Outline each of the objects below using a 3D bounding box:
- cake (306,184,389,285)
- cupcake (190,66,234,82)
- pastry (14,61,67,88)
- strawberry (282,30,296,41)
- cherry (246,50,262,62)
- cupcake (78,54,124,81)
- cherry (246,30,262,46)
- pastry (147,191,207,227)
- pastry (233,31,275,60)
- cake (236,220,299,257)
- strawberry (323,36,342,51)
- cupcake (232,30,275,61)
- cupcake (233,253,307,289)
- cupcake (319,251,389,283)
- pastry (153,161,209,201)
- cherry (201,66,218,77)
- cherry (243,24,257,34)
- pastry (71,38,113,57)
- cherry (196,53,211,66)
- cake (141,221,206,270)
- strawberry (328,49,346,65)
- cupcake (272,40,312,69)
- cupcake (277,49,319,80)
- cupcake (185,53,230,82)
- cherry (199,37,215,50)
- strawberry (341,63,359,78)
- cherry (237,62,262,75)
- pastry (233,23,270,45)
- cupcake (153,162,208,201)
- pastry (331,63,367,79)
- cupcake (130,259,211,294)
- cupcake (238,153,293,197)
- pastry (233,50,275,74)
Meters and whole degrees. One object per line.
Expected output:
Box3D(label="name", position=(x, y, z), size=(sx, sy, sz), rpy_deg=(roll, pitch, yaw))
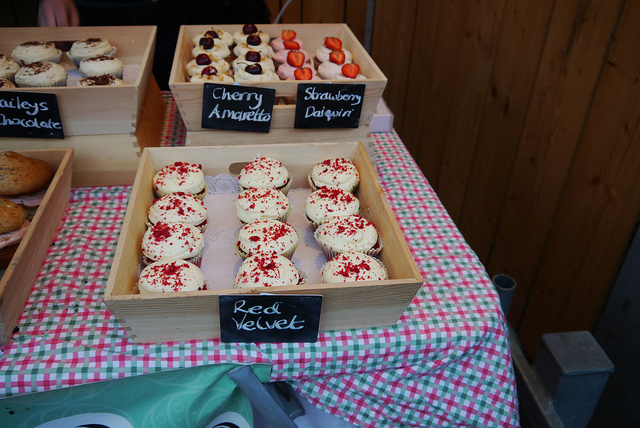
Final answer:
Box3D(label="cake", position=(0.118, 0.101, 2.109), size=(0.327, 0.159, 0.487), rpy_deg=(-4, 43, -6))
Box3D(label="cupcake", position=(-0.682, -0.856, 2.644), size=(0.189, 0.070, 0.184), rpy_deg=(-3, 36, -10))
Box3D(label="pastry", position=(-1.728, -0.848, 2.656), size=(0.250, 0.109, 0.264), rpy_deg=(27, 41, 29))
Box3D(label="strawberry", position=(-0.227, -1.290, 3.122), size=(0.096, 0.059, 0.086), rpy_deg=(1, 36, -4))
Box3D(label="cherry", position=(-0.437, -1.031, 2.844), size=(0.081, 0.044, 0.074), rpy_deg=(4, 57, -11))
Box3D(label="cupcake", position=(-1.408, -0.956, 2.779), size=(0.229, 0.123, 0.200), rpy_deg=(21, 39, 22))
Box3D(label="cherry", position=(-0.472, -1.219, 3.019), size=(0.084, 0.075, 0.077), rpy_deg=(-1, 29, -5))
Box3D(label="pastry", position=(-0.734, -0.032, 2.225), size=(0.220, 0.106, 0.196), rpy_deg=(6, 59, -7))
Box3D(label="pastry", position=(-0.470, -1.174, 3.032), size=(0.232, 0.134, 0.226), rpy_deg=(20, 26, 20))
Box3D(label="cake", position=(-0.257, 0.132, 2.206), size=(0.295, 0.147, 0.300), rpy_deg=(8, 38, -5))
Box3D(label="strawberry", position=(0.091, -1.191, 2.968), size=(0.106, 0.059, 0.122), rpy_deg=(-19, 41, -11))
Box3D(label="cupcake", position=(-0.478, -1.150, 3.043), size=(0.250, 0.141, 0.235), rpy_deg=(3, 18, -10))
Box3D(label="cupcake", position=(-0.243, 0.272, 2.000), size=(0.291, 0.094, 0.303), rpy_deg=(6, 28, 8))
Box3D(label="cupcake", position=(0.150, 0.242, 1.948), size=(0.187, 0.085, 0.174), rpy_deg=(6, 39, 11))
Box3D(label="pastry", position=(-0.753, -0.190, 2.305), size=(0.222, 0.146, 0.218), rpy_deg=(-13, 51, -23))
Box3D(label="cherry", position=(-0.677, -0.869, 2.633), size=(0.089, 0.047, 0.085), rpy_deg=(-16, 36, -27))
Box3D(label="cherry", position=(-0.515, -1.348, 3.132), size=(0.081, 0.074, 0.075), rpy_deg=(-10, 36, -13))
Box3D(label="pastry", position=(-1.542, -1.111, 2.884), size=(0.167, 0.059, 0.175), rpy_deg=(17, 38, 32))
Box3D(label="cherry", position=(-0.764, -0.999, 2.799), size=(0.093, 0.056, 0.078), rpy_deg=(-5, 37, -13))
Box3D(label="cake", position=(-0.707, 0.133, 2.065), size=(0.257, 0.171, 0.243), rpy_deg=(-9, 57, -17))
Box3D(label="strawberry", position=(0.116, -1.029, 2.893), size=(0.112, 0.065, 0.099), rpy_deg=(-1, 77, -7))
Box3D(label="cupcake", position=(-0.196, -1.202, 3.113), size=(0.265, 0.085, 0.267), rpy_deg=(-6, 48, -16))
Box3D(label="cupcake", position=(-0.157, -1.013, 2.924), size=(0.294, 0.162, 0.286), rpy_deg=(-11, 22, -14))
Box3D(label="cupcake", position=(-0.743, -0.965, 2.793), size=(0.252, 0.143, 0.241), rpy_deg=(6, 26, -8))
Box3D(label="cherry", position=(-0.788, -1.179, 2.982), size=(0.101, 0.091, 0.092), rpy_deg=(0, 33, -7))
Box3D(label="strawberry", position=(0.186, -0.885, 2.675), size=(0.102, 0.066, 0.094), rpy_deg=(3, 36, -1))
Box3D(label="cherry", position=(-0.424, -0.914, 2.722), size=(0.109, 0.046, 0.090), rpy_deg=(-8, 37, -16))
Box3D(label="pastry", position=(-0.503, -1.308, 3.138), size=(0.192, 0.111, 0.183), rpy_deg=(-17, 46, -35))
Box3D(label="cupcake", position=(-0.775, -0.204, 2.366), size=(0.258, 0.166, 0.236), rpy_deg=(-10, 51, -31))
Box3D(label="pastry", position=(0.182, -0.877, 2.667), size=(0.146, 0.130, 0.136), rpy_deg=(0, 25, 0))
Box3D(label="cupcake", position=(-0.706, 0.294, 1.983), size=(0.268, 0.267, 0.137), rpy_deg=(5, 77, -29))
Box3D(label="cupcake", position=(-0.298, -0.226, 2.381), size=(0.245, 0.172, 0.221), rpy_deg=(32, 49, 25))
Box3D(label="pastry", position=(-0.439, -1.012, 2.851), size=(0.199, 0.111, 0.186), rpy_deg=(8, 24, -4))
